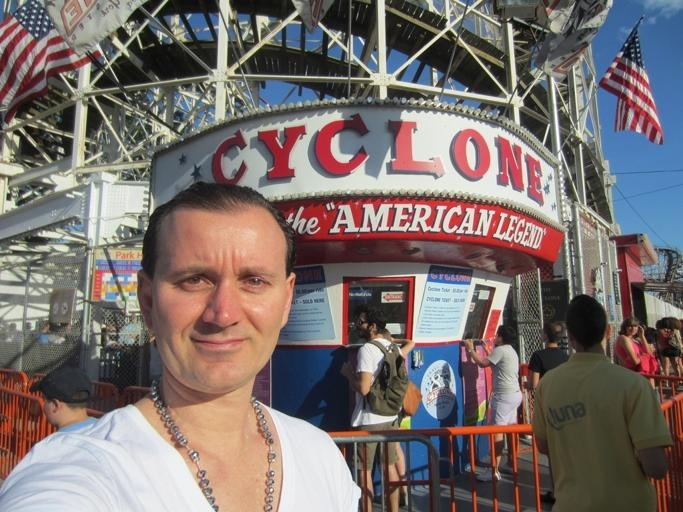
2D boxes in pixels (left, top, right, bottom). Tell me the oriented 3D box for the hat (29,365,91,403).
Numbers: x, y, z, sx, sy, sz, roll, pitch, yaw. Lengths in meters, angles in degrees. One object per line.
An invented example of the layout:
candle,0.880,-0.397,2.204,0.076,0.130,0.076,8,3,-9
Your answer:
hat,-3.448,1.603,6.974,0.563,0.368,0.419,18,4,16

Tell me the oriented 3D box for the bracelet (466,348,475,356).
bracelet,2.261,1.700,9.943,0.136,0.039,0.126,52,-18,-12
